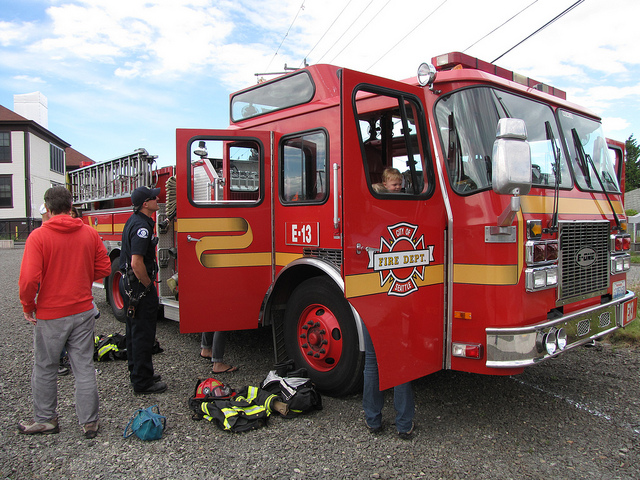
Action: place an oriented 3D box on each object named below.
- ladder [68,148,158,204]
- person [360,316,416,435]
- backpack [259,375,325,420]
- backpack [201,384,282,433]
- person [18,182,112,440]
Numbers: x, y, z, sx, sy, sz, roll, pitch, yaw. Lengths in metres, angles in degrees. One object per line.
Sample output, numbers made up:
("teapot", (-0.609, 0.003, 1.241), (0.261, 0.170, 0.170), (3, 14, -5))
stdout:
("ladder", (-4.036, -1.187, 8.558), (2.480, 0.790, 0.541), (-5, 10, 30))
("person", (0.661, 1.404, 4.168), (0.503, 0.929, 0.444), (1, 7, 11))
("backpack", (-0.247, 1.639, 4.653), (0.374, 0.250, 0.496), (7, 0, 37))
("backpack", (-0.815, 1.728, 4.571), (0.679, 0.214, 0.614), (5, 9, 32))
("person", (-2.505, 0.678, 4.315), (0.687, 2.376, 0.589), (-1, 7, -6))
